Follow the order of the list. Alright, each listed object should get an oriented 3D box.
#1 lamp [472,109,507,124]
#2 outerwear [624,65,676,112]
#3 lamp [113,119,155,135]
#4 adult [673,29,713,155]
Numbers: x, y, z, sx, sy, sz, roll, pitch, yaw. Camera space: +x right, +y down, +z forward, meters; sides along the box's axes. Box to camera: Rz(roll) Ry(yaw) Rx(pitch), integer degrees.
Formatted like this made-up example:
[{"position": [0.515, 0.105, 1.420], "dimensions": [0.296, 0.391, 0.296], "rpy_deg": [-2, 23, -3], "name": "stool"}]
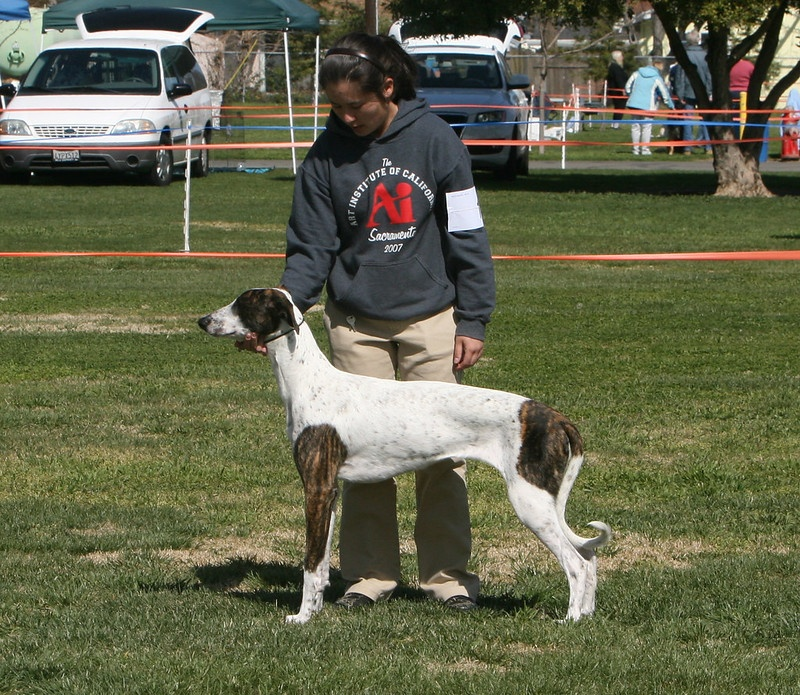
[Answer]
[{"position": [1.254, -3.359, 27.693], "dimensions": [0.272, 0.135, 0.359], "rpy_deg": [-2, 0, 19], "name": "lamp"}, {"position": [4.467, -4.727, 34.760], "dimensions": [0.795, 0.778, 1.824], "rpy_deg": [1, 9, 6], "name": "outerwear"}, {"position": [-3.661, -3.100, 26.726], "dimensions": [0.622, 0.192, 0.108], "rpy_deg": [-5, 10, -28], "name": "lamp"}, {"position": [5.299, -4.801, 35.077], "dimensions": [0.710, 1.945, 0.563], "rpy_deg": [-3, 2, -18], "name": "adult"}]
